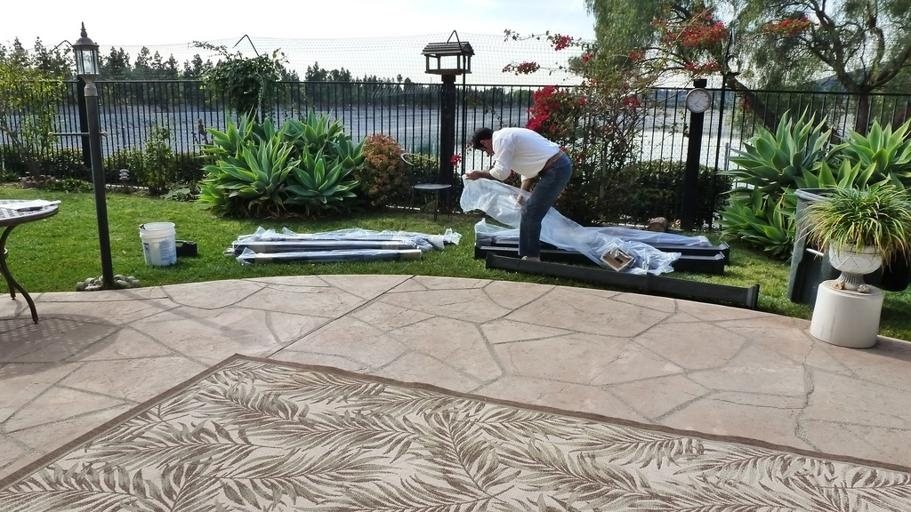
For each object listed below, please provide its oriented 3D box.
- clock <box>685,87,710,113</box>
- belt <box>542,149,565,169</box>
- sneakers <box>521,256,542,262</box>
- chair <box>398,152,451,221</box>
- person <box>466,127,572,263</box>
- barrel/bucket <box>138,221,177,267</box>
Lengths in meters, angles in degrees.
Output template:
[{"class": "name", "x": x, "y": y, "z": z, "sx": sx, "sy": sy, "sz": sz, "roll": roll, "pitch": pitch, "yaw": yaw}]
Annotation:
[{"class": "clock", "x": 4.020, "y": -2.624, "z": 11.317, "sx": 0.411, "sy": 0.354, "sz": 0.379, "roll": 6, "pitch": 20, "yaw": -13}, {"class": "belt", "x": 1.374, "y": -1.372, "z": 9.497, "sx": 0.307, "sy": 0.118, "sz": 0.261, "roll": -36, "pitch": 11, "yaw": 11}, {"class": "sneakers", "x": 1.047, "y": 0.038, "z": 9.432, "sx": 0.293, "sy": 0.107, "sz": 0.093, "roll": 1, "pitch": 12, "yaw": 14}, {"class": "chair", "x": -0.527, "y": -1.383, "z": 12.586, "sx": 0.984, "sy": 1.106, "sz": 2.091, "roll": -1, "pitch": 15, "yaw": -8}, {"class": "person", "x": 0.885, "y": -0.922, "z": 9.636, "sx": 1.182, "sy": 1.807, "sz": 0.790, "roll": 12, "pitch": 20, "yaw": 34}, {"class": "barrel/bucket", "x": -4.083, "y": -0.162, "z": 9.302, "sx": 0.635, "sy": 0.573, "sz": 0.593, "roll": 0, "pitch": 7, "yaw": 0}]
